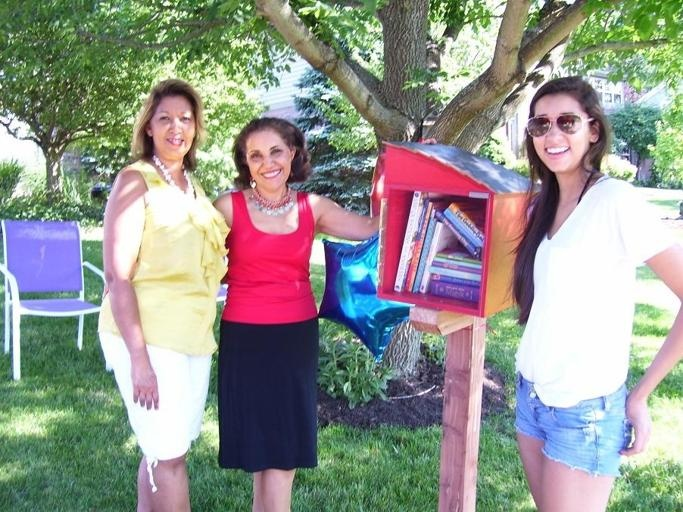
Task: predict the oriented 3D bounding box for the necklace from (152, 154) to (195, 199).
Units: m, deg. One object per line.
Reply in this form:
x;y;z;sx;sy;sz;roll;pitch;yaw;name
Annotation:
-0.946;-0.434;3.255;0.064;0.244;0.208;-39;-23;24;necklace

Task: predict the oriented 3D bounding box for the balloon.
0.131;0.264;3.784;0.559;0.791;0.628;-4;14;-41;balloon

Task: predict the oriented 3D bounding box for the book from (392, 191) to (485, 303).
0.581;-0.037;3.036;0.543;0.513;0.384;15;20;37;book
